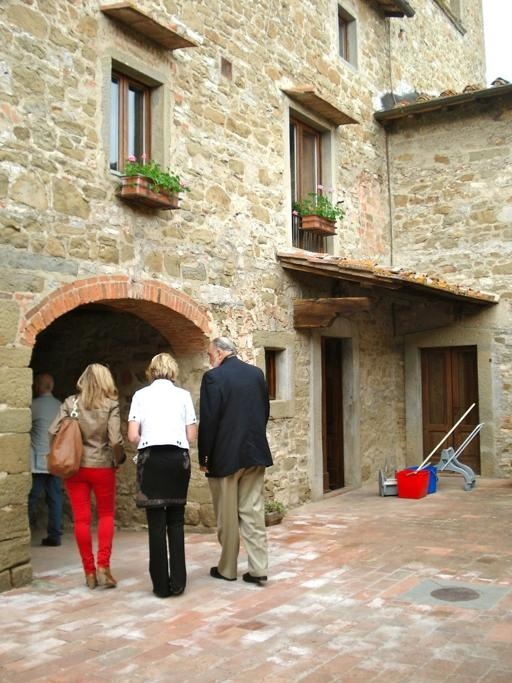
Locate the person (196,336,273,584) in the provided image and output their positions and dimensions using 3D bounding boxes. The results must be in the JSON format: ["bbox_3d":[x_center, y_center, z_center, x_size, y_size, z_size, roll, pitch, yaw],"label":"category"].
[{"bbox_3d":[-0.130,0.743,3.767,0.512,1.557,0.341,-1,-5,-21],"label":"person"}]

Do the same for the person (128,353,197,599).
[{"bbox_3d":[-0.543,0.776,3.526,0.324,1.423,0.415,-3,-4,11],"label":"person"}]

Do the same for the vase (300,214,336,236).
[{"bbox_3d":[0.772,-1.415,7.275,0.491,0.192,0.247,1,-5,-37],"label":"vase"}]

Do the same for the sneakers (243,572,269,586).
[{"bbox_3d":[-0.001,1.475,3.757,0.159,0.066,0.061,4,0,37],"label":"sneakers"}]

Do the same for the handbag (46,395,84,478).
[{"bbox_3d":[-1.103,0.618,3.474,0.182,0.337,0.185,-1,-4,-18],"label":"handbag"}]

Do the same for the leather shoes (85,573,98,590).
[{"bbox_3d":[-0.984,1.469,3.650,0.048,0.067,0.135,2,1,-4],"label":"leather shoes"}]

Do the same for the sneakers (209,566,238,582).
[{"bbox_3d":[-0.215,1.512,3.869,0.186,0.069,0.071,14,10,38],"label":"sneakers"}]

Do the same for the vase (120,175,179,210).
[{"bbox_3d":[-0.822,-1.148,4.726,0.236,0.148,0.533,-5,-5,29],"label":"vase"}]

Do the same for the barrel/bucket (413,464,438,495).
[{"bbox_3d":[2.234,1.768,7.742,0.336,0.412,0.408,-2,-5,19],"label":"barrel/bucket"}]

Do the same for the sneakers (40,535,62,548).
[{"bbox_3d":[-1.784,1.741,5.226,0.205,0.081,0.076,3,-4,42],"label":"sneakers"}]

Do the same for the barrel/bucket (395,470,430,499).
[{"bbox_3d":[1.876,1.719,7.242,0.332,0.268,0.386,0,-1,18],"label":"barrel/bucket"}]

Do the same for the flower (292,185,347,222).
[{"bbox_3d":[0.804,-1.666,7.434,0.651,0.399,0.533,2,-13,1],"label":"flower"}]
